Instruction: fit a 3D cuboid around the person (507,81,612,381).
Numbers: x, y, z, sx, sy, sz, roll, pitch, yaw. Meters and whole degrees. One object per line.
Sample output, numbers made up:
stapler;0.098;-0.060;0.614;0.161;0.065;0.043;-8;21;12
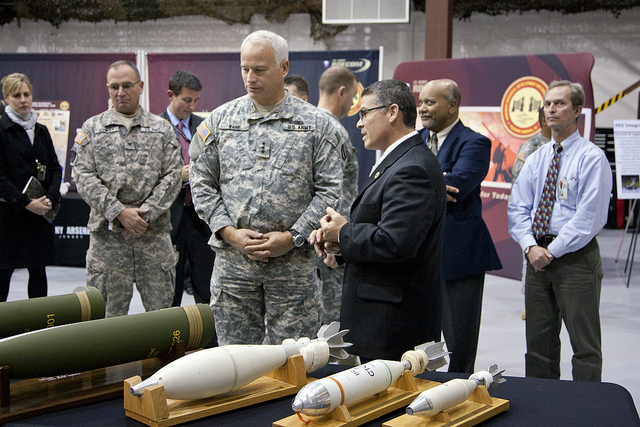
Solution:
person;1.641;0.106;4.232;0.658;2.022;0.310;0;1;26

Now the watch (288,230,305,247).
watch;-0.125;0.142;3.526;0.060;0.091;0.090;-27;27;-23

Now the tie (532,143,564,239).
tie;1.576;-0.169;4.292;0.111;0.659;0.172;17;-8;39

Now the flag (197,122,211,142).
flag;-0.697;-0.483;3.704;0.022;0.075;0.203;22;6;-23

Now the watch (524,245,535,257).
watch;1.452;0.258;4.264;0.019;0.053;0.046;24;-16;-18

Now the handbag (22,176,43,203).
handbag;-2.500;-0.202;5.354;0.047;0.195;0.202;-1;-40;21

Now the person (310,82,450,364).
person;0.382;0.047;3.278;0.568;1.487;0.302;0;1;10

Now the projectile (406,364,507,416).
projectile;0.619;0.776;2.732;0.505;0.135;0.119;-13;7;-23

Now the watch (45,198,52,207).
watch;-2.373;-0.091;5.389;0.043;0.062;0.064;-9;6;-28

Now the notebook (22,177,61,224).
notebook;-2.453;-0.116;5.420;0.159;0.392;0.319;0;0;26

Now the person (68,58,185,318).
person;-1.393;-0.182;4.526;0.798;1.857;0.371;-1;1;-23
